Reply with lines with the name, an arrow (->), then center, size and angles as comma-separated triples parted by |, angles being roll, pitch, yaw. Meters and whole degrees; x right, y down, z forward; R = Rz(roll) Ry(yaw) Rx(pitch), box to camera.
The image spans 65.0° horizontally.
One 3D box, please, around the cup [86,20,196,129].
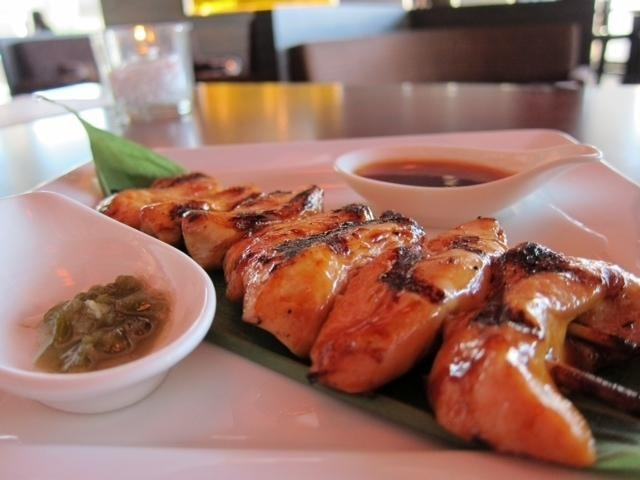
cup -> -0.936, -0.917, 2.764 | 0.509, 0.509, 0.265 | -8, 25, -17
